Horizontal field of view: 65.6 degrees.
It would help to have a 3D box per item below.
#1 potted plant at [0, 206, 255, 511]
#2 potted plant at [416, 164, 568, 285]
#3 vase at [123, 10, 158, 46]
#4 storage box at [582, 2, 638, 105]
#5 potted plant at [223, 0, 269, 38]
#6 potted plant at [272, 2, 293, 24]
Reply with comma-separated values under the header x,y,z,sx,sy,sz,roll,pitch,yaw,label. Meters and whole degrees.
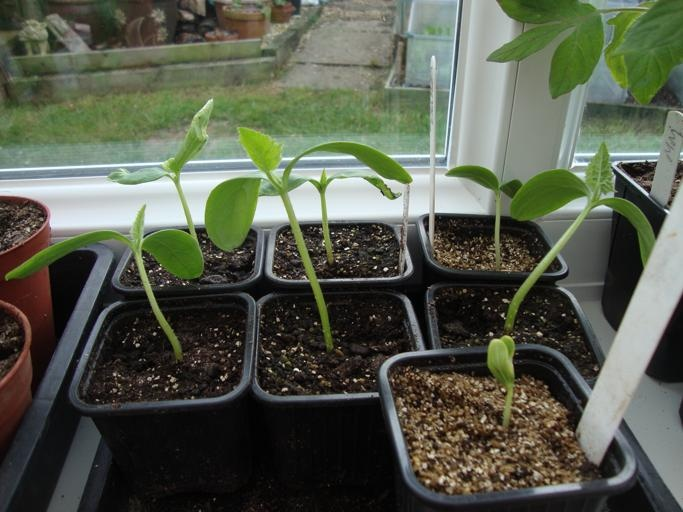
x,y,z,sx,sy,sz,roll,pitch,yaw,label
-0.369,0.192,1.022,0.446,0.508,0.299,-7,32,-9,potted plant
0.335,-0.024,1.166,0.220,0.116,0.313,0,41,1,potted plant
-0.478,-0.545,1.274,0.049,0.064,0.064,18,19,37,vase
0.655,-0.483,1.281,0.129,0.237,0.045,6,27,14,storage box
-0.232,-0.569,1.273,0.076,0.053,0.084,3,36,-1,potted plant
-0.144,-0.590,1.285,0.047,0.034,0.044,-9,44,-11,potted plant
